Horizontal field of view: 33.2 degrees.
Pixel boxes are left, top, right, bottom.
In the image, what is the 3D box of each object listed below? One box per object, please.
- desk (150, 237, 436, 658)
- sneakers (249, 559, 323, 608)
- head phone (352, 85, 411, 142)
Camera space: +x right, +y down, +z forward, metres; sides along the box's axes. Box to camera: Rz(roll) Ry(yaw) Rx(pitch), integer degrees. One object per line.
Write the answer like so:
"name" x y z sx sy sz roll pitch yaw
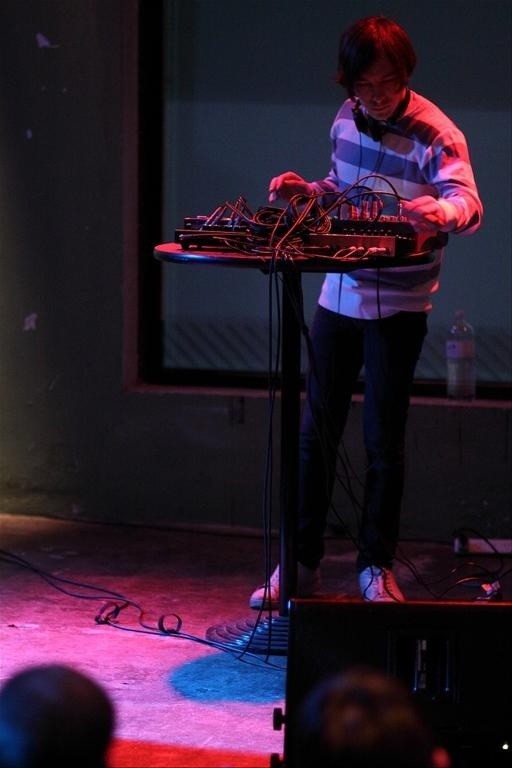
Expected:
"desk" 0.048 0.167 1.869 0.526 0.942 0.644 2 4 9
"sneakers" 0.082 0.530 2.275 0.087 0.107 0.269 -5 -8 38
"head phone" 0.276 -0.676 2.114 0.118 0.132 0.047 9 -31 -15
